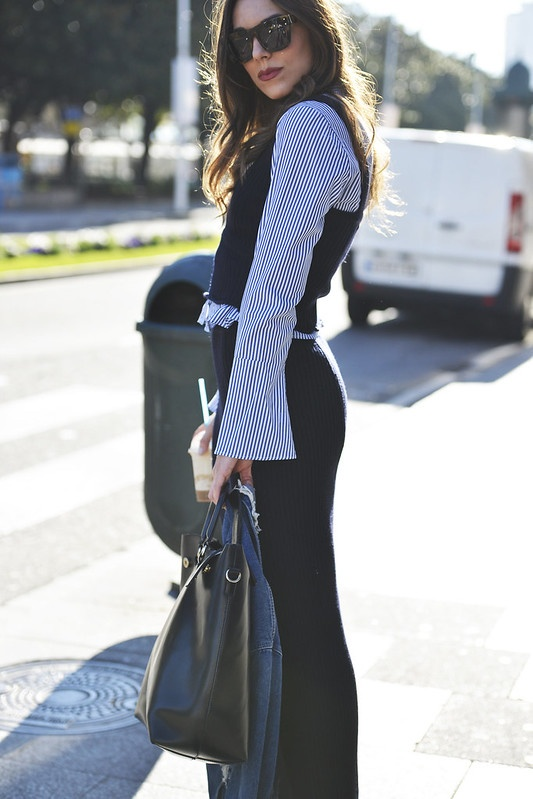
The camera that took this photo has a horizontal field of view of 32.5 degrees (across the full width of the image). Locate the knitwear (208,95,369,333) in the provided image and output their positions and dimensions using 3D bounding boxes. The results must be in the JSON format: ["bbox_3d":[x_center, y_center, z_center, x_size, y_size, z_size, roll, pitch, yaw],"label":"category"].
[{"bbox_3d":[0.084,-0.331,1.739,0.209,0.383,0.203,4,12,11],"label":"knitwear"}]

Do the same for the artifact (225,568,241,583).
[{"bbox_3d":[-0.055,0.291,1.529,0.023,0.021,0.008,11,-7,-19],"label":"artifact"}]

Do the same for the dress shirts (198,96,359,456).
[{"bbox_3d":[0.058,-0.207,1.636,0.137,0.631,0.292,10,14,37],"label":"dress shirts"}]
